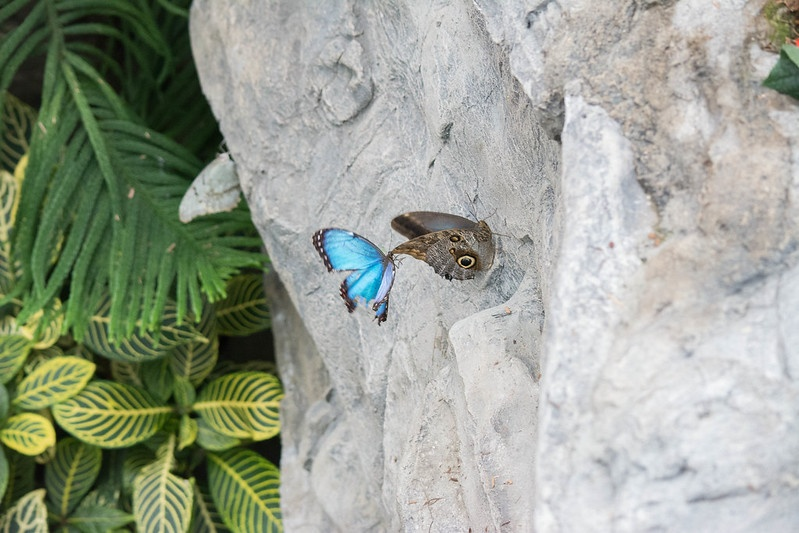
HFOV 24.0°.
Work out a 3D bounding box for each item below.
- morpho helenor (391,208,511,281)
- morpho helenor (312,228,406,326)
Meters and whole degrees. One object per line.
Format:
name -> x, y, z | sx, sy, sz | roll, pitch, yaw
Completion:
morpho helenor -> 0.191, -0.124, 7.718 | 0.447, 0.243, 0.390 | 10, -37, -40
morpho helenor -> -0.179, 0.031, 7.810 | 0.332, 0.332, 0.393 | -6, -29, -18
